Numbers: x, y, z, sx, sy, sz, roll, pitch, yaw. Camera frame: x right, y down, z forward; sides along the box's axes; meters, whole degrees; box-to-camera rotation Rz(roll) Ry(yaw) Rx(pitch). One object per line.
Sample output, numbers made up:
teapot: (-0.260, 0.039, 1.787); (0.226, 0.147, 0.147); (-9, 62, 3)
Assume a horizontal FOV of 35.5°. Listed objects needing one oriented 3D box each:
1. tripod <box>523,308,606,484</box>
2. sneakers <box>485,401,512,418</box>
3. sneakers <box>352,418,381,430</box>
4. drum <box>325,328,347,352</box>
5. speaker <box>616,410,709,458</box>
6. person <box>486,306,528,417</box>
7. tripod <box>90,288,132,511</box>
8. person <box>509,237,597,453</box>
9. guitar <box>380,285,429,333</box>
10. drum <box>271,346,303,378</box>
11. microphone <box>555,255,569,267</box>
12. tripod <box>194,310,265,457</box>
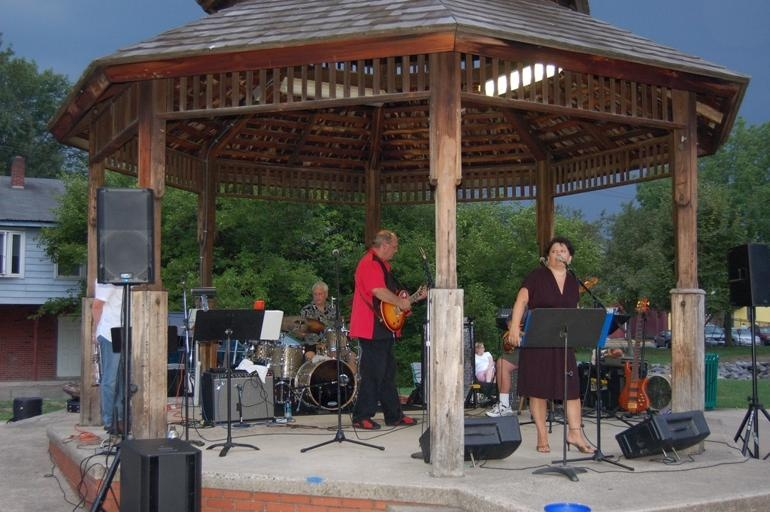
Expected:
tripod: (3.250, 2.521, 21.934); (1.469, 3.097, 0.825); (-1, -7, 6)
sneakers: (2.244, 3.020, 23.805); (0.624, 0.315, 0.251); (-4, -7, 36)
sneakers: (-0.360, 3.316, 23.784); (0.432, 0.190, 0.239); (-1, -5, 5)
drum: (-0.992, 1.734, 24.948); (0.426, 0.494, 0.445); (1, -4, -13)
speaker: (5.090, 3.338, 22.378); (1.284, 0.527, 0.950); (3, -28, -45)
person: (2.354, 2.108, 24.091); (0.632, 2.155, 0.469); (15, -22, -18)
tripod: (-5.302, 1.981, 23.139); (0.607, 2.865, 1.018); (6, -9, -38)
person: (3.048, 1.615, 22.548); (1.505, 4.013, 1.030); (2, -2, -8)
guitar: (0.433, 1.123, 26.388); (1.494, 0.679, 0.204); (-35, 17, -28)
drum: (-2.002, 2.201, 24.946); (0.593, 0.612, 0.578); (-9, -13, 44)
microphone: (3.259, 0.095, 22.461); (0.078, 0.194, 0.099); (-29, -41, -16)
tripod: (-3.015, 2.438, 23.148); (1.322, 2.746, 1.128); (1, -8, -8)
